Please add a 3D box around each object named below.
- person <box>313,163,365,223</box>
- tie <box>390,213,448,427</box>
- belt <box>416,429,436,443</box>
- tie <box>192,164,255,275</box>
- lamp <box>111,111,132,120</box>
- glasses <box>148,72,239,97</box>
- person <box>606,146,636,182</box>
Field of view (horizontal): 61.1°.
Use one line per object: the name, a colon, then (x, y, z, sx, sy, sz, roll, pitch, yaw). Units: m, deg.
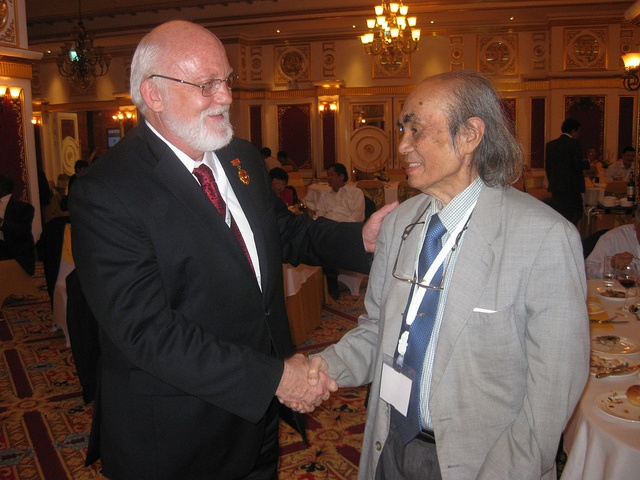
person: (0.258, -0.593, 7.650, 0.705, 1.019, 0.579, -6, -5, 32)
tie: (0.397, 0.299, 2.065, 0.159, 0.905, 0.070, 5, -6, 38)
belt: (0.397, 0.729, 2.008, 0.048, 0.017, 0.035, 32, -8, -10)
tie: (-0.409, -0.071, 2.249, 0.066, 0.501, 0.036, -16, -14, -42)
lamp: (-5.364, -3.391, 14.831, 0.325, 0.179, 0.421, -1, 2, 2)
glasses: (-0.498, -0.645, 2.242, 0.170, 0.057, 0.180, 11, 7, 17)
person: (5.219, -1.322, 9.408, 0.414, 0.560, 1.014, 5, 13, 27)
